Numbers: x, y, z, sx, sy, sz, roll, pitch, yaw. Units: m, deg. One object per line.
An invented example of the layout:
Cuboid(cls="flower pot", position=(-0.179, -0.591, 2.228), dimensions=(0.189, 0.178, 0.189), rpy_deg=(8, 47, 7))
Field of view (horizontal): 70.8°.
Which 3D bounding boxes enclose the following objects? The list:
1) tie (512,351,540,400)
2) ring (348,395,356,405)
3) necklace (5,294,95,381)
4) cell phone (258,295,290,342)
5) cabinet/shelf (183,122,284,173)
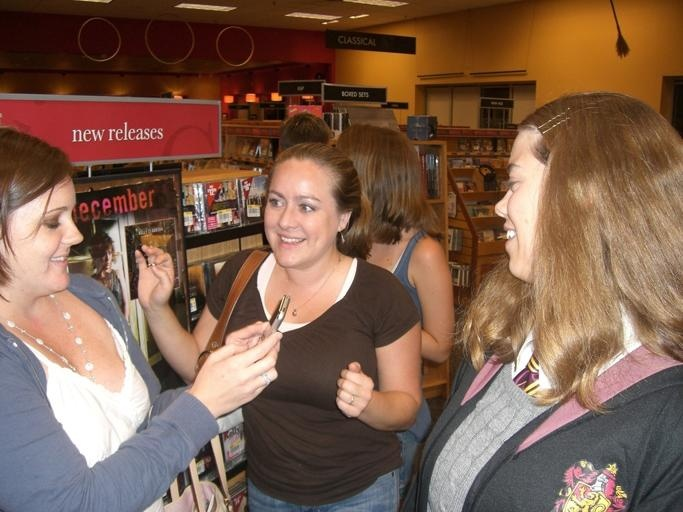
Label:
Cuboid(cls="tie", position=(0.510, 0.334, 1.354), dimensions=(0.023, 0.076, 0.079), rpy_deg=(23, 11, -3))
Cuboid(cls="ring", position=(0.035, 0.472, 1.555), dimensions=(0.008, 0.026, 0.018), rpy_deg=(8, -2, -18))
Cuboid(cls="necklace", position=(-0.839, 0.245, 1.397), dimensions=(0.029, 0.274, 0.107), rpy_deg=(-29, 14, 44))
Cuboid(cls="cell phone", position=(-0.240, 0.231, 1.705), dimensions=(0.042, 0.187, 0.052), rpy_deg=(30, 5, 29))
Cuboid(cls="cabinet/shelf", position=(-1.468, -1.633, 7.009), dimensions=(0.310, 0.458, 1.198), rpy_deg=(4, 9, 33))
